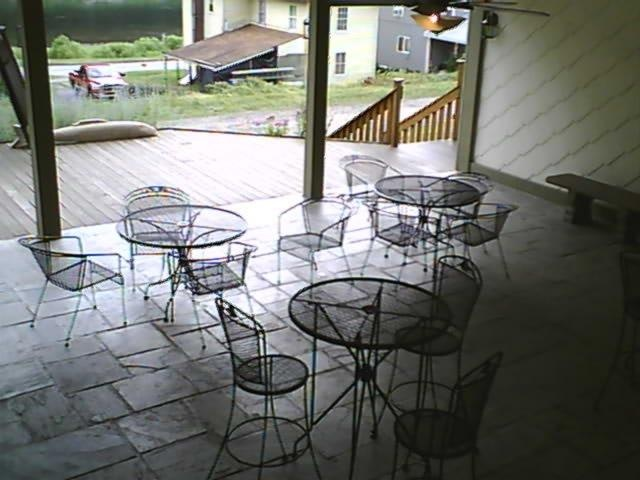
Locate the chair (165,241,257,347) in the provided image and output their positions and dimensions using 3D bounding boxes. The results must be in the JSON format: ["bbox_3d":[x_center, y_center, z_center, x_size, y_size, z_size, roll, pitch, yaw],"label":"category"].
[{"bbox_3d":[-1.024,0.517,5.111,0.851,0.860,0.665,-11,46,-26],"label":"chair"}]

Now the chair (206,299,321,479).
[{"bbox_3d":[-0.414,1.160,4.125,0.957,1.386,0.668,-6,36,-14],"label":"chair"}]

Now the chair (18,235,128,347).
[{"bbox_3d":[-2.434,0.535,5.429,0.809,0.853,0.890,26,32,32],"label":"chair"}]
